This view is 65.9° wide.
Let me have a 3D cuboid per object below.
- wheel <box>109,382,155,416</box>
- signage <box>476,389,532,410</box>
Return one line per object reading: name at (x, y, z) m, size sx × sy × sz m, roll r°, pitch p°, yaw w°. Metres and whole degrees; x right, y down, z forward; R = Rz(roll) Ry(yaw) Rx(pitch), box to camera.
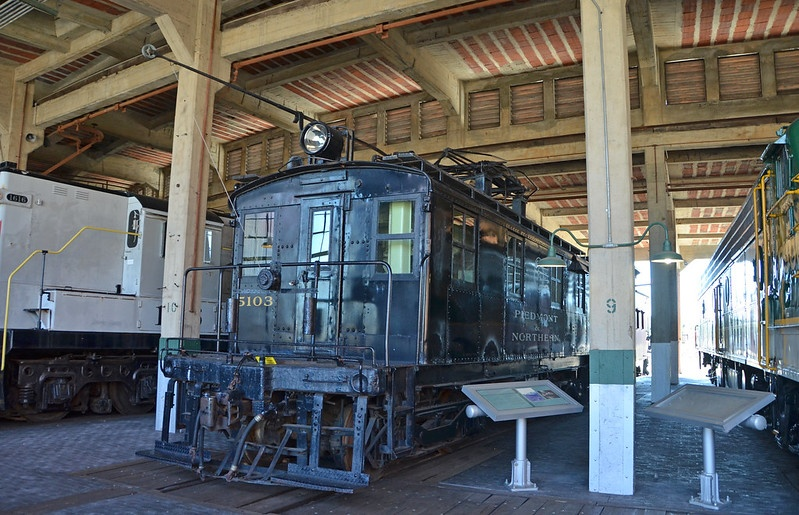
wheel at (-6.384, 3.342, 14.500) m, size 0.836 × 0.828 × 0.844 m, roll 0°, pitch -6°, yaw 0°
signage at (1.706, 2.254, 9.817) m, size 0.842 × 0.256 × 0.344 m, roll 1°, pitch 0°, yaw -22°
